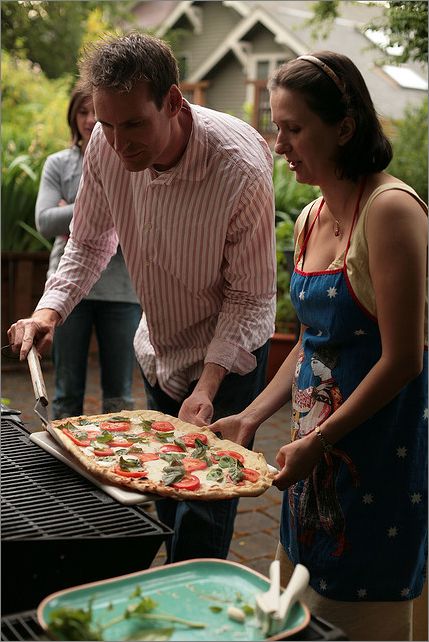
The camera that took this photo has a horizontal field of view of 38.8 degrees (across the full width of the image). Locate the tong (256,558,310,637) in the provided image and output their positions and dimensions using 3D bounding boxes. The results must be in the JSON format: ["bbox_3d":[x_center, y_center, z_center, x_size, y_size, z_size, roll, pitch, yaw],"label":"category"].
[{"bbox_3d":[0.100,0.429,0.938,0.061,0.070,0.100,5,9,28],"label":"tong"}]

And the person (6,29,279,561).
[{"bbox_3d":[-0.230,-0.043,2.076,0.803,1.698,0.767,-2,7,-31],"label":"person"}]

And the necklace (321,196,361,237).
[{"bbox_3d":[0.310,-0.254,1.508,0.076,0.101,0.097,9,21,23],"label":"necklace"}]
